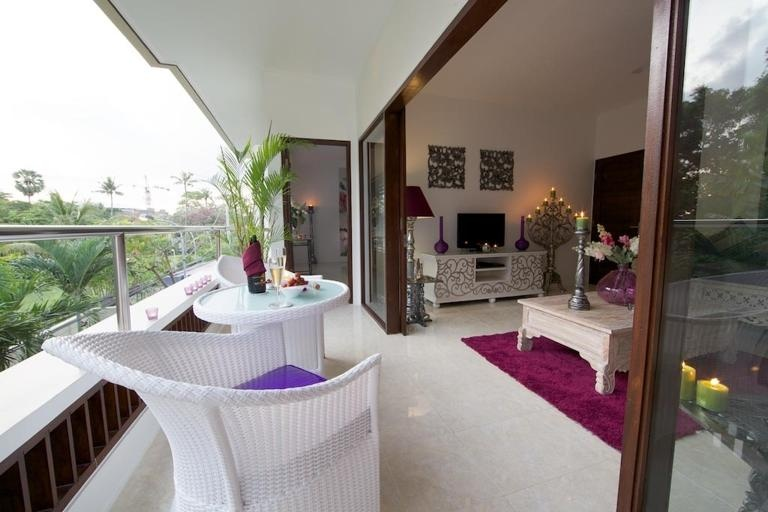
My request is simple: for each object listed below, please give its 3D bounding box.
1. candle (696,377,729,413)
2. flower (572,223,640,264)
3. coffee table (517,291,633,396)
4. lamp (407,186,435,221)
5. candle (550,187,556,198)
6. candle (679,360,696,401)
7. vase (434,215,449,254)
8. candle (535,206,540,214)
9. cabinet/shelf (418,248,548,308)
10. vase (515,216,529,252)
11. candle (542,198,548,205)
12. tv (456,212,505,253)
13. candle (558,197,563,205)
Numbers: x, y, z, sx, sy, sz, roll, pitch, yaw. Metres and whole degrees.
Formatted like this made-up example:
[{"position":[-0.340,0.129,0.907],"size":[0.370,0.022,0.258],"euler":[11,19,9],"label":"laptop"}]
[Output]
[{"position":[1.516,0.637,2.190],"size":[0.145,0.166,0.147],"euler":[1,-1,-10],"label":"candle"},{"position":[1.858,-0.097,3.863],"size":[0.367,0.321,0.490],"euler":[3,9,25],"label":"flower"},{"position":[1.534,0.619,3.721],"size":[0.702,0.334,0.721],"euler":[-5,14,-17],"label":"coffee table"},{"position":[0.332,-0.569,4.944],"size":[0.286,0.334,0.293],"euler":[-3,9,-15],"label":"lamp"},{"position":[2.391,-0.897,6.628],"size":[0.072,0.158,0.185],"euler":[3,10,22],"label":"candle"},{"position":[1.433,0.597,2.208],"size":[0.062,0.183,0.031],"euler":[5,11,31],"label":"candle"},{"position":[0.709,-0.271,5.859],"size":[0.169,0.446,0.485],"euler":[0,9,7],"label":"vase"},{"position":[2.169,-0.658,6.584],"size":[0.058,0.114,0.118],"euler":[6,11,37],"label":"candle"},{"position":[1.248,0.256,5.888],"size":[1.594,0.661,0.353],"euler":[-4,10,-21],"label":"cabinet/shelf"},{"position":[1.860,-0.321,6.339],"size":[0.157,0.444,0.501],"euler":[2,9,16],"label":"vase"},{"position":[2.283,-0.773,6.606],"size":[0.084,0.093,0.086],"euler":[-2,6,8],"label":"candle"},{"position":[1.224,-0.307,6.089],"size":[0.527,0.384,0.155],"euler":[0,5,-12],"label":"tv"},{"position":[2.516,-0.780,6.651],"size":[0.054,0.117,0.212],"euler":[3,9,22],"label":"candle"}]
